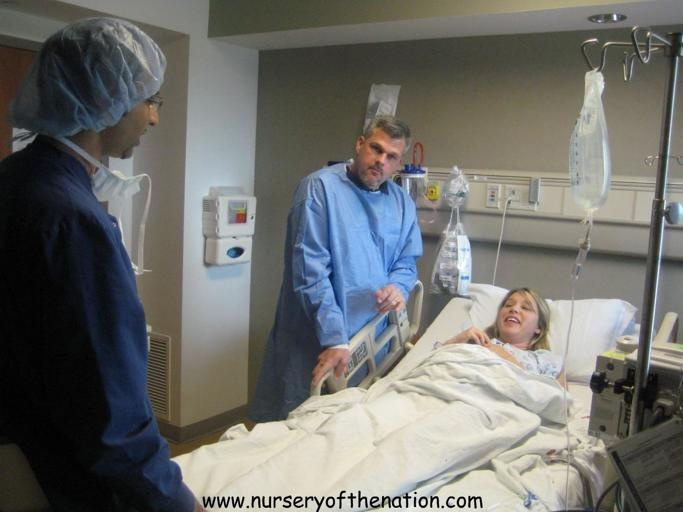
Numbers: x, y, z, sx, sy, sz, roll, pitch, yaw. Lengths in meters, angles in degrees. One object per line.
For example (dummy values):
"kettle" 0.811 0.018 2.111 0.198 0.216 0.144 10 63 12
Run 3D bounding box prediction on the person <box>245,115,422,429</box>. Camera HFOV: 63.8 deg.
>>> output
"person" 0.007 0.169 2.548 0.609 1.564 0.614 5 8 -39
